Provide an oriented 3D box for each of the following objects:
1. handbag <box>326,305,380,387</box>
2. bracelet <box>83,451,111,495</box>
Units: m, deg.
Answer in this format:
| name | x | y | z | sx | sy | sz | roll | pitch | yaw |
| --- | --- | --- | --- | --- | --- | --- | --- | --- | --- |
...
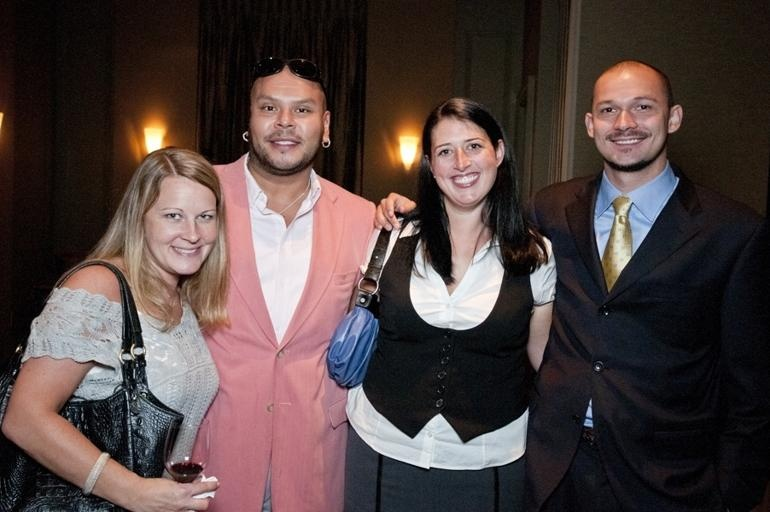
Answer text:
| name | x | y | z | sx | sy | sz | roll | pitch | yaw |
| --- | --- | --- | --- | --- | --- | --- | --- | --- | --- |
| handbag | -0.153 | 0.442 | 2.905 | 0.105 | 0.367 | 0.246 | 12 | -4 | 45 |
| bracelet | -1.165 | 0.872 | 2.425 | 0.033 | 0.138 | 0.129 | 28 | -18 | -18 |
